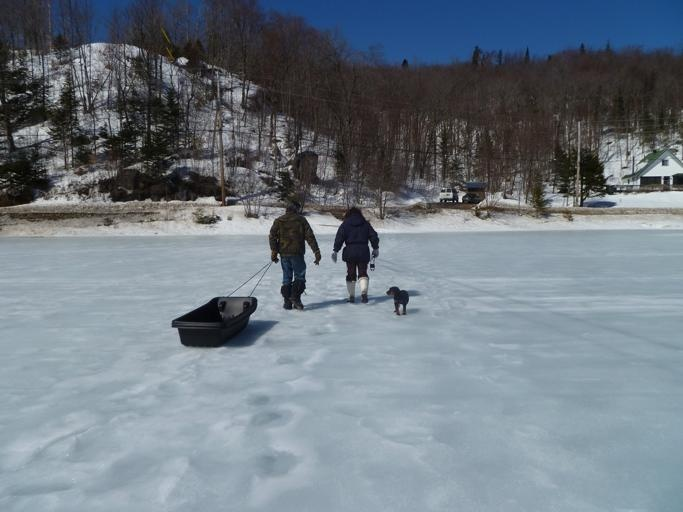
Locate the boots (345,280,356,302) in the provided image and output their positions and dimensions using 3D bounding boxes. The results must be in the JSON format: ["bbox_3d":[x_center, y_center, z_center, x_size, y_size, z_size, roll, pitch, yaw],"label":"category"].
[{"bbox_3d":[0.224,0.709,13.021,0.215,0.414,0.393,1,15,3],"label":"boots"}]

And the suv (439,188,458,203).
[{"bbox_3d":[9.243,-5.229,52.697,1.076,1.164,1.925,1,8,34],"label":"suv"}]

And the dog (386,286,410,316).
[{"bbox_3d":[1.119,0.875,12.030,0.356,0.569,0.732,-2,7,7],"label":"dog"}]

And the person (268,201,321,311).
[{"bbox_3d":[-0.916,0.005,12.328,0.956,2.213,0.566,-4,7,-5],"label":"person"}]
